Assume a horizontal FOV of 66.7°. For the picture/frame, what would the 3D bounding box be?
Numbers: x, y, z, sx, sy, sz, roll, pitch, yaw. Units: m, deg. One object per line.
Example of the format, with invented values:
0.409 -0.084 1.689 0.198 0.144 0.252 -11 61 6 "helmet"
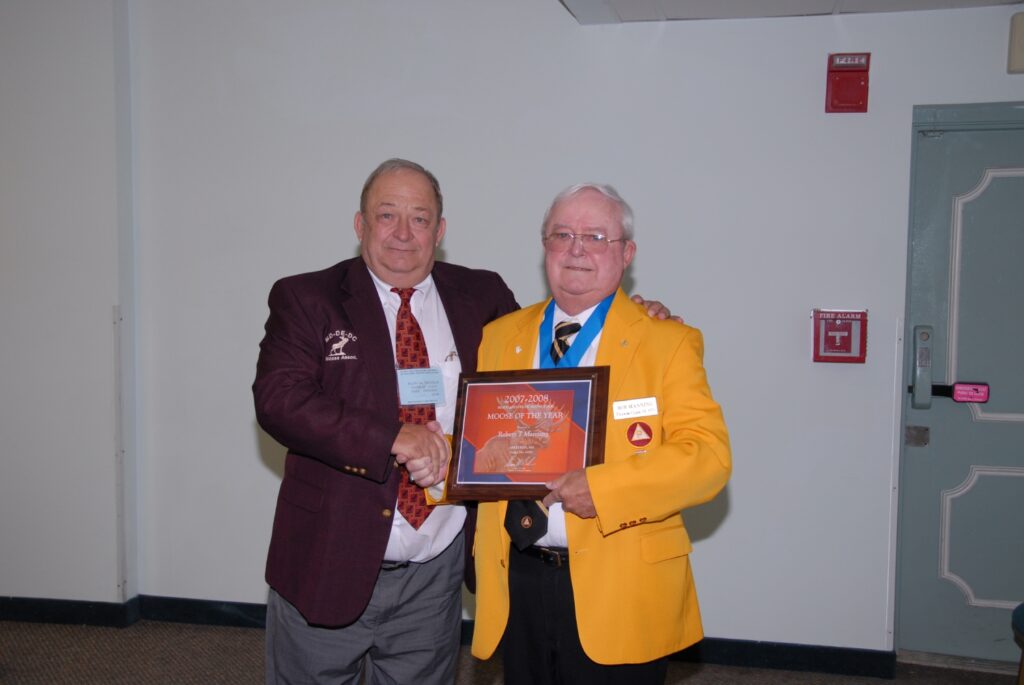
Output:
0.089 0.381 3.103 0.552 0.480 0.048 -2 -19 13 "picture/frame"
